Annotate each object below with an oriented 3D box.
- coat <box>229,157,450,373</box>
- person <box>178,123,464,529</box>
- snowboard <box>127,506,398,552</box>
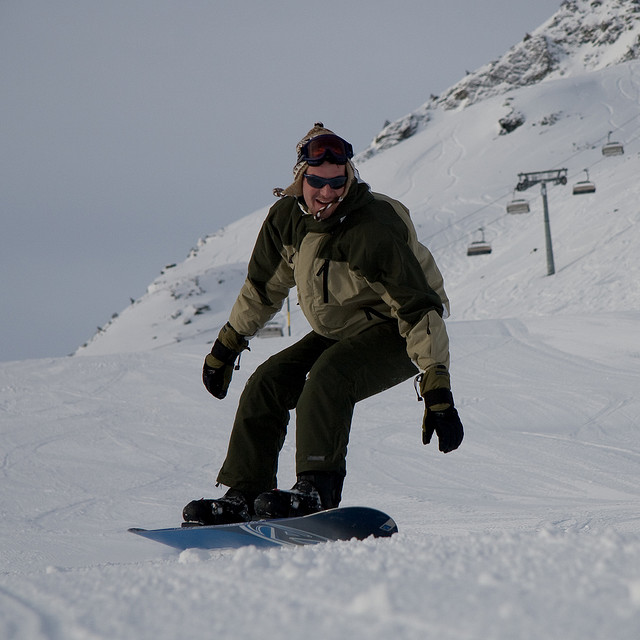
[{"bbox_3d":[0.131,-0.211,5.220,0.446,0.984,1.215,-1,-5,-42],"label":"coat"},{"bbox_3d":[0.060,-0.029,5.133,1.174,1.882,1.119,-5,-4,5],"label":"person"},{"bbox_3d":[-0.190,0.914,4.585,1.714,0.216,0.348,-2,-19,11],"label":"snowboard"}]
